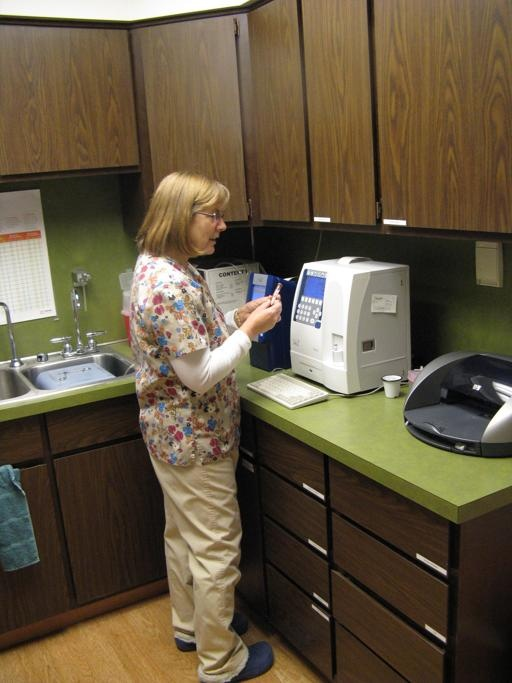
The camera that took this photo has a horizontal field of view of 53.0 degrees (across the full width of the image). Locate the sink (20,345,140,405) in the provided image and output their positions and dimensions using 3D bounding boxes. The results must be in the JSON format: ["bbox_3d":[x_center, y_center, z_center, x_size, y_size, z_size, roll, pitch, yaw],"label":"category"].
[{"bbox_3d":[-0.726,0.115,2.151,0.280,0.111,0.234,-9,21,-21],"label":"sink"}]

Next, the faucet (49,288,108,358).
[{"bbox_3d":[-0.809,-0.084,2.309,0.256,0.365,0.124,-5,7,-30],"label":"faucet"}]

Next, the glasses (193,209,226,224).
[{"bbox_3d":[-0.120,-0.324,1.339,0.029,0.029,0.115,-1,8,30],"label":"glasses"}]

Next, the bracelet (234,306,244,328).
[{"bbox_3d":[-0.060,-0.079,1.750,0.013,0.058,0.040,-2,8,13],"label":"bracelet"}]

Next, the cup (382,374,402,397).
[{"bbox_3d":[0.384,0.130,1.458,0.053,0.056,0.058,4,9,40],"label":"cup"}]
